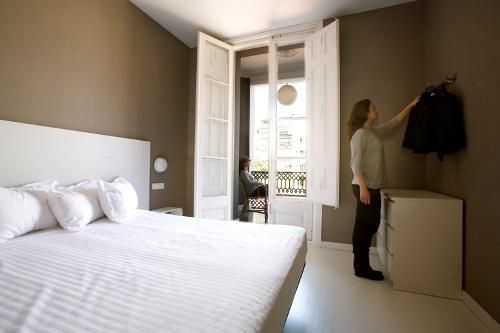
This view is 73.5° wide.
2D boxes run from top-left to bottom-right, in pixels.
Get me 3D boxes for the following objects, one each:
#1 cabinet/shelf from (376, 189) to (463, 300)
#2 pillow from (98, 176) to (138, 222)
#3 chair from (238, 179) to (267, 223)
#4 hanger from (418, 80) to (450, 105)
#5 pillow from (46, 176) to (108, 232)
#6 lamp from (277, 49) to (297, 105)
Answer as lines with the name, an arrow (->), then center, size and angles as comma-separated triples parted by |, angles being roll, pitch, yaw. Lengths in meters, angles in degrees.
cabinet/shelf -> 2.111, 0.807, 4.243 | 0.511, 0.826, 1.092 | -15, -11, 13
pillow -> -1.587, 0.403, 3.977 | 0.140, 0.294, 0.447 | -13, 5, 2
chair -> 0.086, 0.576, 6.452 | 0.590, 0.870, 0.586 | 4, -4, -4
hanger -> 2.259, -0.904, 4.053 | 0.155, 0.267, 0.406 | 1, 9, -10
pillow -> -1.915, 0.414, 3.670 | 0.174, 0.452, 0.594 | -24, -1, 16
lamp -> 0.589, -1.396, 5.226 | 0.310, 0.889, 0.306 | 3, 8, 4
